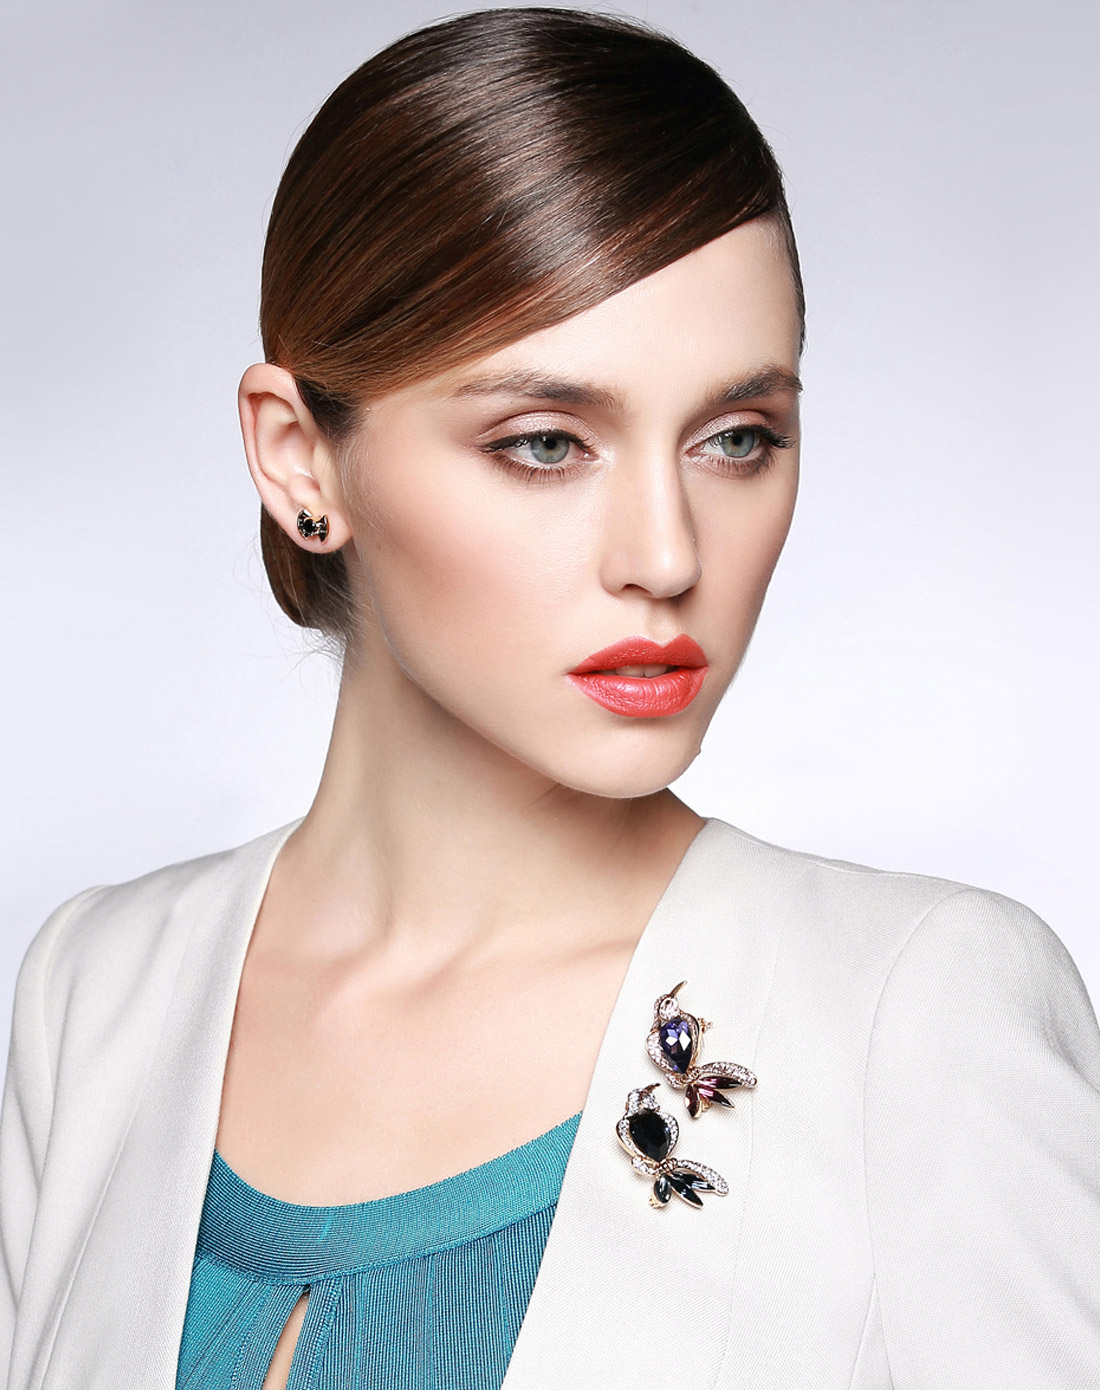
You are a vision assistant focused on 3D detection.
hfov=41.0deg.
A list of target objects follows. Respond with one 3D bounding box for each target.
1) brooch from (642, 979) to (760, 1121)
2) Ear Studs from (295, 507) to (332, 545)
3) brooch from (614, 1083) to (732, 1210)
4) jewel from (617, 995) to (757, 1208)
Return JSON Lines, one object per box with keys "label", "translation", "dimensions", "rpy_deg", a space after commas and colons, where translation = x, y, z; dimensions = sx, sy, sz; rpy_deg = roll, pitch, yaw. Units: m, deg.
{"label": "brooch", "translation": [0.148, 0.364, 1.489], "dimensions": [0.077, 0.122, 0.047], "rpy_deg": [-31, -33, 12]}
{"label": "Ear Studs", "translation": [-0.274, -0.194, 1.688], "dimensions": [0.044, 0.038, 0.011], "rpy_deg": [15, 23, 24]}
{"label": "brooch", "translation": [0.114, 0.451, 1.449], "dimensions": [0.052, 0.098, 0.115], "rpy_deg": [-1, 6, -40]}
{"label": "jewel", "translation": [0.117, 0.399, 1.439], "dimensions": [0.129, 0.181, 0.046], "rpy_deg": [-13, -32, 6]}
